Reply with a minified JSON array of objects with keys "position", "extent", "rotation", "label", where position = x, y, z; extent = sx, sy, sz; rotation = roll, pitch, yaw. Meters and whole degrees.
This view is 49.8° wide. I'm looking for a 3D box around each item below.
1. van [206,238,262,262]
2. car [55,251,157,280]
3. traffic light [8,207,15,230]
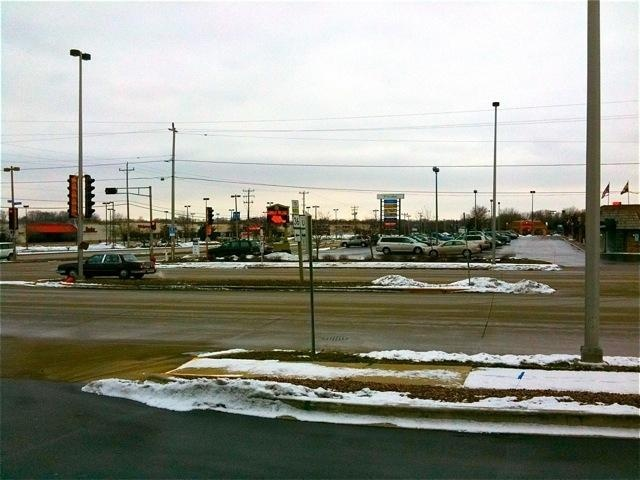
[{"position":[-6.985,0.868,56.969],"extent":[3.991,1.469,1.755],"rotation":[2,0,-4],"label":"van"},{"position":[-11.609,1.434,37.757],"extent":[4.732,1.182,2.007],"rotation":[3,1,6],"label":"car"},{"position":[-19.379,-1.355,43.405],"extent":[0.349,1.252,1.934],"rotation":[-5,7,-23],"label":"traffic light"}]
